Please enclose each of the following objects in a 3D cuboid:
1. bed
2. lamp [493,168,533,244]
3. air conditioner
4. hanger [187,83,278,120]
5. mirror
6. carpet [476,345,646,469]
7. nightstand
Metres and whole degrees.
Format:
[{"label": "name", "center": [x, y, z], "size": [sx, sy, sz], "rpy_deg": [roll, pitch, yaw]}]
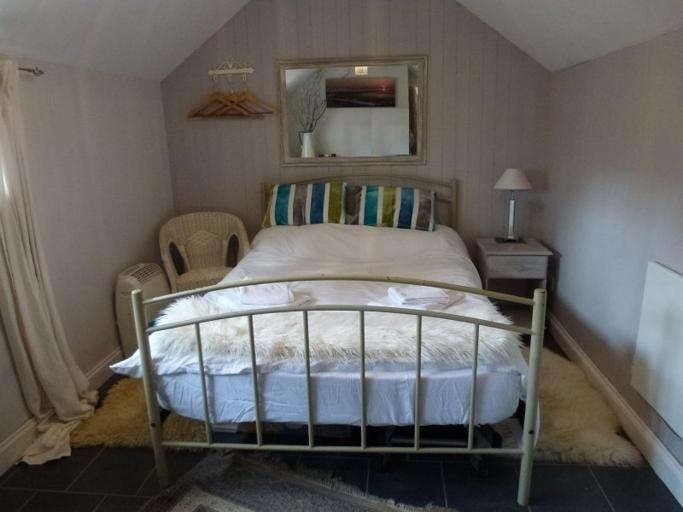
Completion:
[{"label": "bed", "center": [-0.005, 0.467, 3.101], "size": [1.535, 0.909, 1.754], "rpy_deg": [0, 11, 3]}, {"label": "lamp", "center": [1.265, -0.387, 4.293], "size": [0.357, 0.589, 0.320], "rpy_deg": [-1, 14, 4]}, {"label": "air conditioner", "center": [-1.429, 0.274, 3.905], "size": [0.349, 0.825, 0.444], "rpy_deg": [3, 13, 1]}, {"label": "hanger", "center": [-0.872, -1.208, 4.402], "size": [0.590, 0.249, 0.262], "rpy_deg": [6, 13, 7]}, {"label": "mirror", "center": [0.092, -1.141, 4.359], "size": [1.146, 0.809, 0.076], "rpy_deg": [0, 14, 3]}, {"label": "carpet", "center": [1.159, 0.814, 2.890], "size": [0.465, 0.108, 0.739], "rpy_deg": [-2, 16, 9]}, {"label": "nightstand", "center": [1.313, 0.041, 4.297], "size": [0.511, 0.366, 0.466], "rpy_deg": [3, 12, 1]}]
